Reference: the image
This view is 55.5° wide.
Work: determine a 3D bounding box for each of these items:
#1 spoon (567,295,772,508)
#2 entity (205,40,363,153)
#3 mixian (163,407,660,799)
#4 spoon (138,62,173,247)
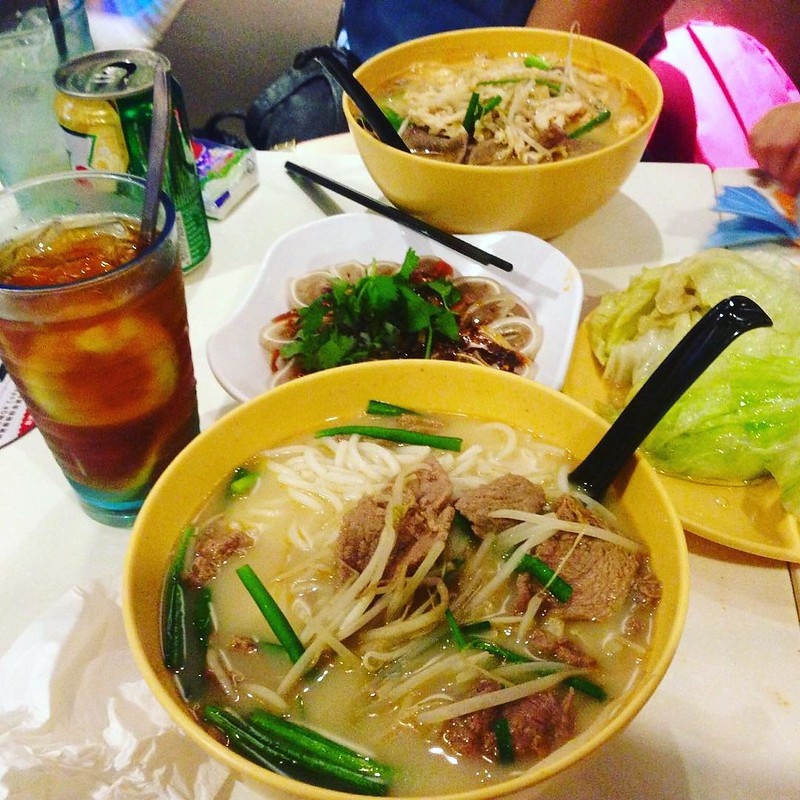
[{"bbox_3d":[0.451,-0.020,1.262,0.130,0.624,0.127,-17,65,-18],"label":"spoon"},{"bbox_3d":[-0.622,-1.451,3.745,0.547,0.289,0.814,-25,30,-11],"label":"entity"},{"bbox_3d":[-0.004,0.285,1.251,0.765,0.163,0.711,-18,55,-15],"label":"mixian"},{"bbox_3d":[-0.422,-0.421,1.316,0.048,0.433,0.032,3,15,-18],"label":"spoon"}]
